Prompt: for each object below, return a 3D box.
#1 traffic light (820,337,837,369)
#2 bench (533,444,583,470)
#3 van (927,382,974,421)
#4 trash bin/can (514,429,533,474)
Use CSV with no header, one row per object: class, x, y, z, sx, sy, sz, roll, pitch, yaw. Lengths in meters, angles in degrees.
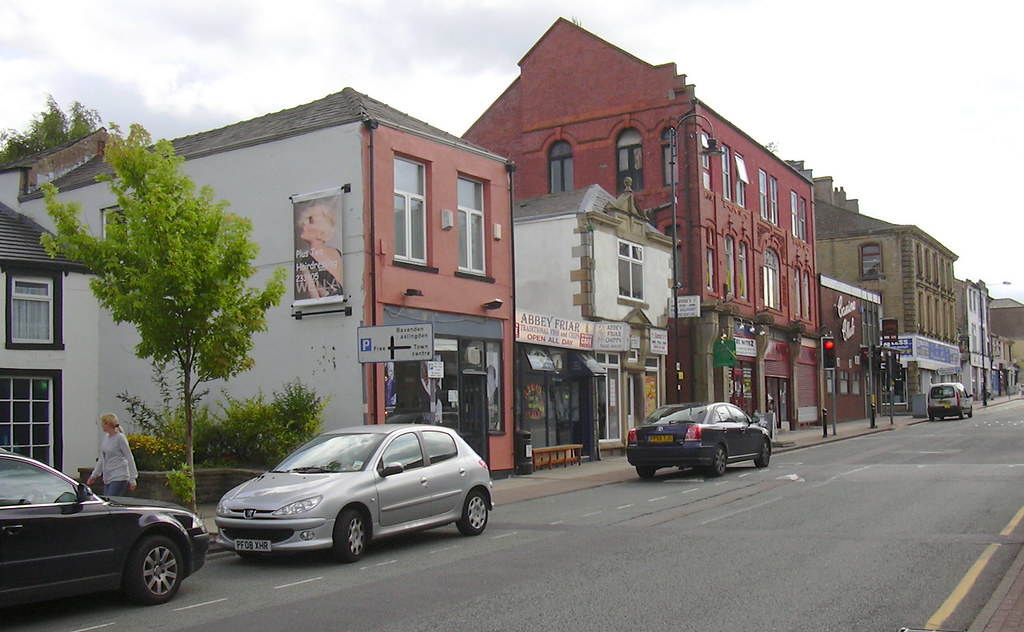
traffic light,13.696,1.513,44.219,0.493,1.237,1.193,-5,-10,13
bench,1.487,4.509,33.198,0.699,0.880,3.214,-8,-12,24
van,25.750,4.930,60.193,1.711,1.522,2.958,-4,0,26
trash bin/can,0.347,4.106,30.975,0.589,1.303,0.363,4,-12,-40
